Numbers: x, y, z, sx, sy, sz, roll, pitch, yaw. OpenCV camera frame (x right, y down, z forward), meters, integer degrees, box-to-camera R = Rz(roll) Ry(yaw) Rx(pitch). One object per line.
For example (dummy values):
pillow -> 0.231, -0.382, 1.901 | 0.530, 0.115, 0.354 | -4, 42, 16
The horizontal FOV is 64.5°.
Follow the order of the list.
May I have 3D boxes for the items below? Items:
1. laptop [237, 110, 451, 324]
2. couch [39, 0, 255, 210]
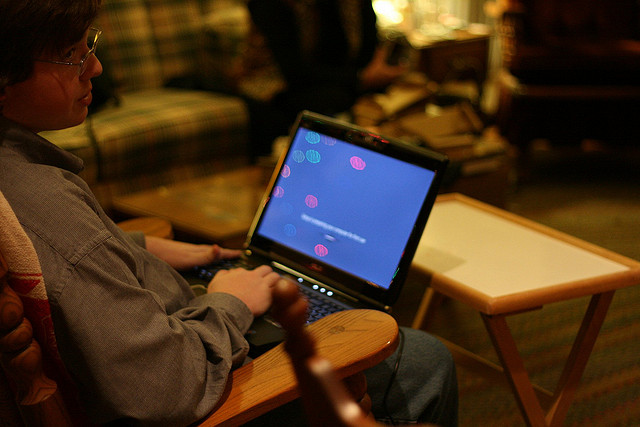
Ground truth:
laptop -> 0.075, 0.009, 1.523 | 0.598, 0.420, 0.576 | 28, 51, 10
couch -> -0.718, -0.463, 2.248 | 0.912, 0.836, 0.685 | -27, 42, -35
